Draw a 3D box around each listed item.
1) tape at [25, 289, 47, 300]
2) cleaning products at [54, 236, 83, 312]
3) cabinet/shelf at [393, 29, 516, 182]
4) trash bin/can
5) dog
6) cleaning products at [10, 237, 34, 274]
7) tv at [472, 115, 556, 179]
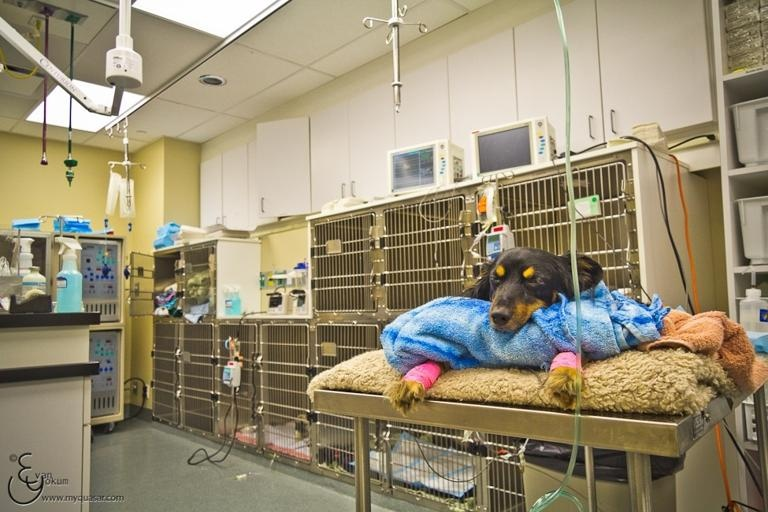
[{"bbox_3d":[-2.254,0.240,3.798,0.114,0.040,0.209,-8,7,-31],"label":"tape"},{"bbox_3d":[-2.028,0.119,3.781,0.175,0.475,0.373,-7,6,-27],"label":"cleaning products"},{"bbox_3d":[0.548,-1.091,4.301,1.296,1.135,0.424,-1,-1,44],"label":"cabinet/shelf"},{"bbox_3d":[1.115,1.198,3.092,0.809,0.387,0.270,-1,6,28],"label":"trash bin/can"},{"bbox_3d":[0.487,0.268,2.255,0.683,0.307,0.776,-3,9,33],"label":"dog"},{"bbox_3d":[-2.416,0.016,3.947,0.143,0.261,0.101,1,2,-23],"label":"cleaning products"},{"bbox_3d":[0.867,-0.679,3.849,0.502,0.323,0.292,-7,-7,33],"label":"tv"}]
